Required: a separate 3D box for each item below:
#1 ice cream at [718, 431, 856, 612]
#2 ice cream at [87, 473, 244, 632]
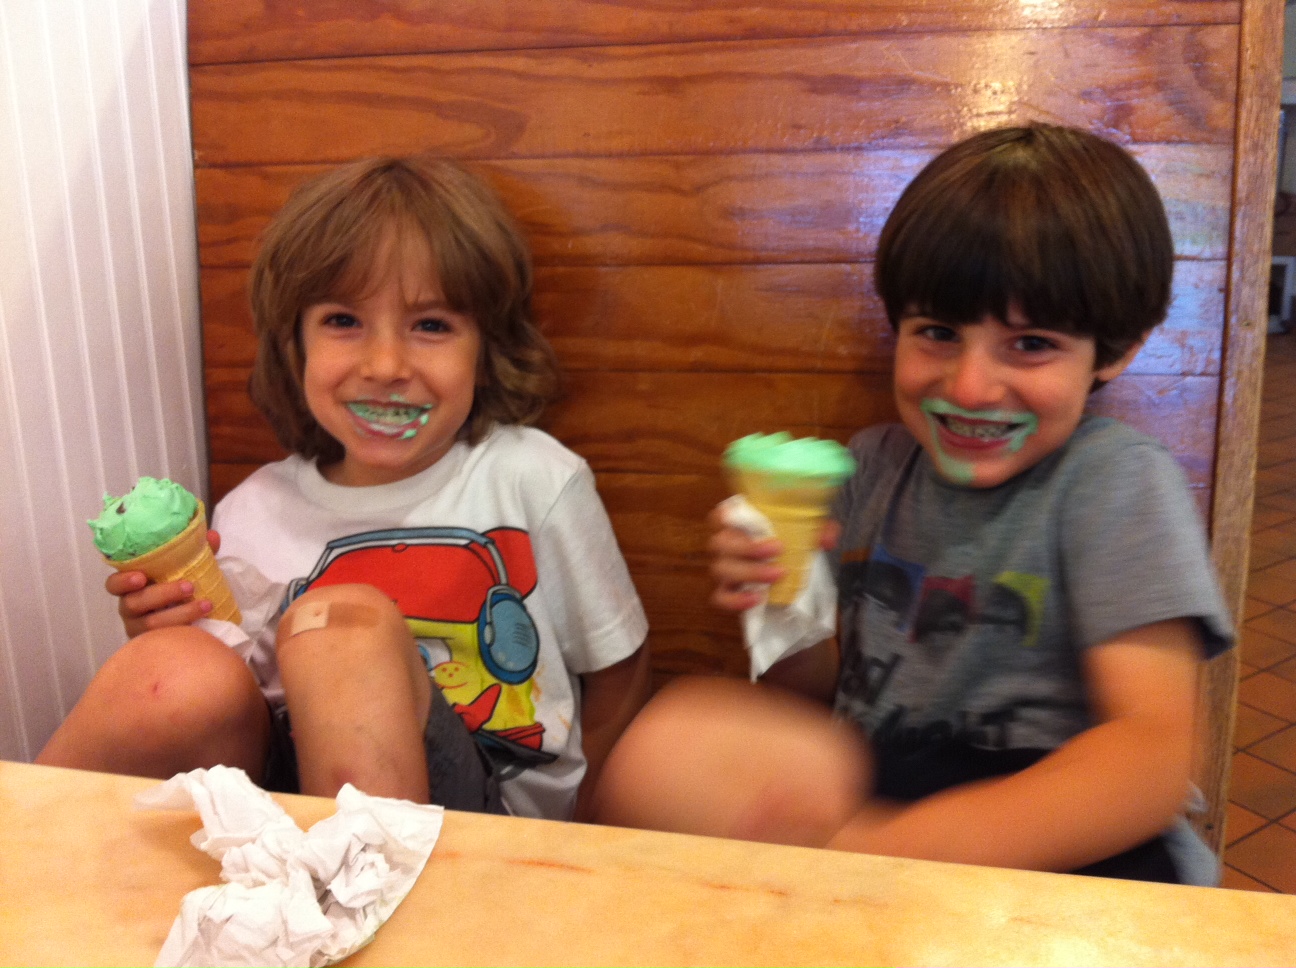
[{"bbox_3d":[0.132,0.035,0.972,0.112,0.150,0.105,4,10,5],"label":"ice cream"},{"bbox_3d":[-0.534,0.086,1.121,0.113,0.189,0.094,-3,21,2],"label":"ice cream"}]
